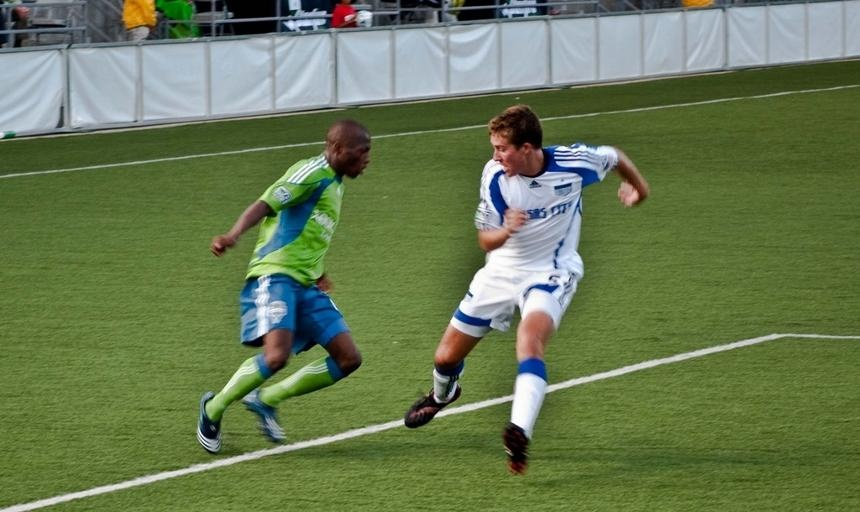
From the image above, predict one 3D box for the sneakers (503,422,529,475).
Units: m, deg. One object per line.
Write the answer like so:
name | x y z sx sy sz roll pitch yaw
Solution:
sneakers | 0.818 1.741 10.620 0.237 0.445 0.236 2 8 16
